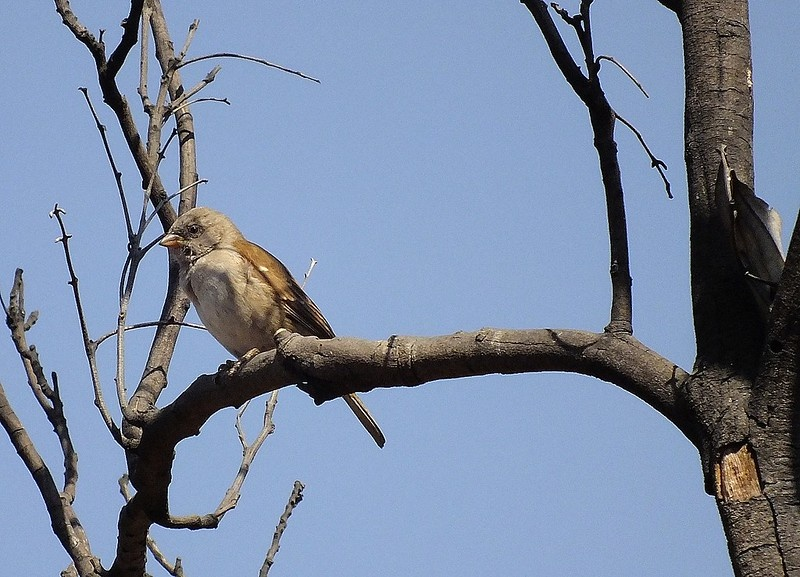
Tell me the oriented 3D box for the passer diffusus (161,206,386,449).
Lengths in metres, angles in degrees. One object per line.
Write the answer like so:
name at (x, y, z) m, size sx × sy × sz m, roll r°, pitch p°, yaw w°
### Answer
passer diffusus at (-0.667, 0.224, 7.243) m, size 1.492 × 0.493 × 0.723 m, roll 31°, pitch -64°, yaw 27°
